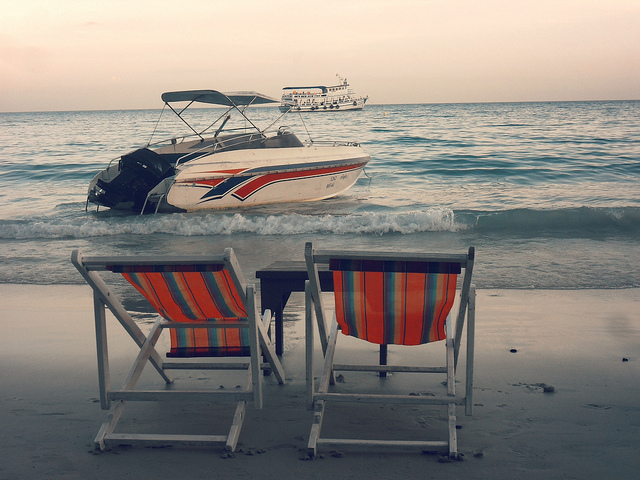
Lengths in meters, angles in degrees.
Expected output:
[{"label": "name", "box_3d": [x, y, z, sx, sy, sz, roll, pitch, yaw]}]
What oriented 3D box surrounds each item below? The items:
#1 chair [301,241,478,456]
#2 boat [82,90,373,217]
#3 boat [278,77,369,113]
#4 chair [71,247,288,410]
[{"label": "chair", "box_3d": [0.614, 0.827, 7.481, 1.547, 1.836, 1.753, -4, 11, 4]}, {"label": "boat", "box_3d": [-1.047, -2.006, 17.749, 7.653, 2.091, 3.247, -5, 11, -30]}, {"label": "boat", "box_3d": [1.180, -15.166, 85.886, 11.095, 3.029, 2.975, 6, 13, 39]}, {"label": "chair", "box_3d": [-1.151, 0.764, 7.447, 1.467, 0.943, 1.672, -8, -12, 9]}]
